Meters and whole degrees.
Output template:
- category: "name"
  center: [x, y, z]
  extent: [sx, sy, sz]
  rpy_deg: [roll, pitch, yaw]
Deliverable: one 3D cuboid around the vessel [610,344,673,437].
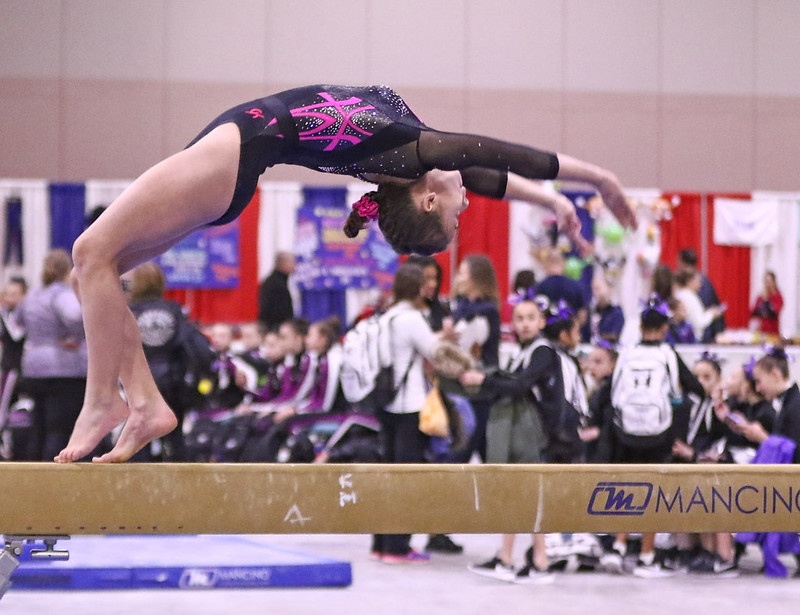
- category: "vessel"
  center: [1.514, 0.512, 9.075]
  extent: [0.414, 0.646, 0.335]
  rpy_deg: [3, 3, 43]
